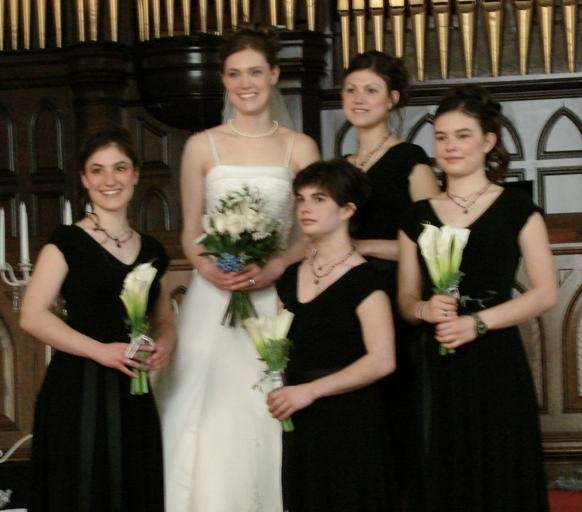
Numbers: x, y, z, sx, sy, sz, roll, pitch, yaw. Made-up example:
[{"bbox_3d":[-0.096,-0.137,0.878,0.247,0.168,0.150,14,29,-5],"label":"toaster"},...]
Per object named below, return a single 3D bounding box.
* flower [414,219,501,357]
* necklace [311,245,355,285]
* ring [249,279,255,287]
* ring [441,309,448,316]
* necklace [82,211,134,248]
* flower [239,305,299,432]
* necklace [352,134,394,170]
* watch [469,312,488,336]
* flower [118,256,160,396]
[{"bbox_3d":[0.572,0.116,2.535,0.249,0.468,0.217,-1,4,18],"label":"flower"},{"bbox_3d":[0.150,0.029,2.730,0.138,0.151,0.043,27,20,10],"label":"necklace"},{"bbox_3d":[-0.151,0.103,2.798,0.020,0.024,0.029,-1,-13,0],"label":"ring"},{"bbox_3d":[0.513,0.192,2.457,0.030,0.021,0.010,-2,-7,8],"label":"ring"},{"bbox_3d":[-0.696,-0.097,2.737,0.061,0.157,0.156,-51,-8,-8],"label":"necklace"},{"bbox_3d":[-0.070,0.322,2.568,0.181,0.274,0.125,0,5,38],"label":"flower"},{"bbox_3d":[0.374,-0.458,3.175,0.268,0.069,0.023,-38,-16,-26],"label":"necklace"},{"bbox_3d":[0.632,0.232,2.466,0.031,0.068,0.057,-30,-26,-7],"label":"watch"},{"bbox_3d":[-0.538,0.263,2.610,0.126,0.483,0.201,-4,4,-13],"label":"flower"}]
